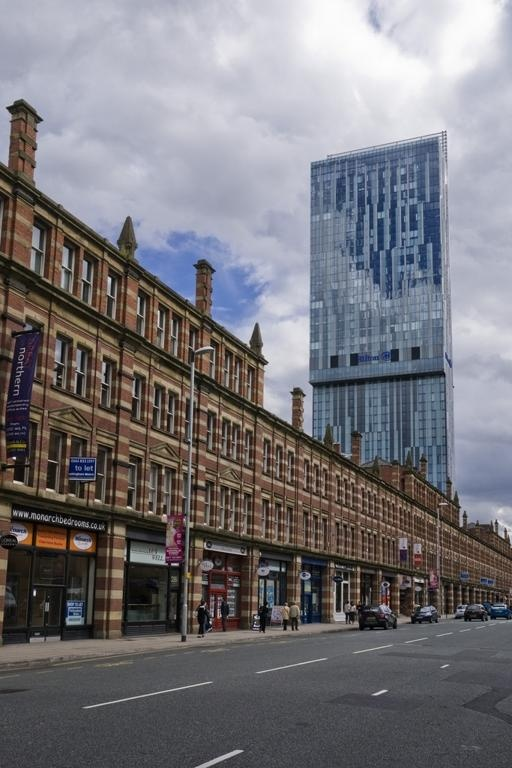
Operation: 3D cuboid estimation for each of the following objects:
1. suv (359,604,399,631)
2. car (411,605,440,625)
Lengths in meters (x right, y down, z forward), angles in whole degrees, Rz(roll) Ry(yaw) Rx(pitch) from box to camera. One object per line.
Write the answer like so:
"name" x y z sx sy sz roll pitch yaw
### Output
"suv" 7.620 14.321 45.614 1.182 1.074 2.823 -5 -10 20
"car" 14.097 19.091 61.386 1.266 1.057 2.855 -9 -30 19
